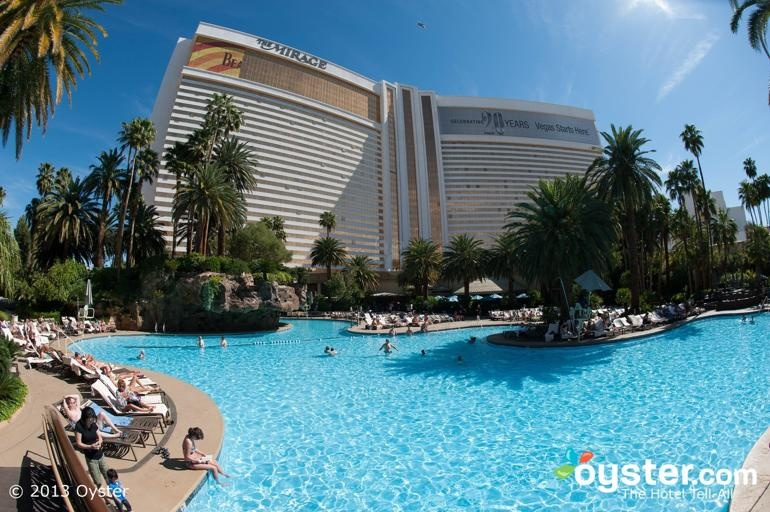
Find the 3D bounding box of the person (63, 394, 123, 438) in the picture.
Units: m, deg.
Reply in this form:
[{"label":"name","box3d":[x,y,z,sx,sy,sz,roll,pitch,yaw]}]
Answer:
[{"label":"person","box3d":[-9.347,5.279,15.189,2.710,1.169,1.075,-1,-9,19]}]

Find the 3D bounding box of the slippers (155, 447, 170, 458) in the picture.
[{"label":"slippers","box3d":[-7.043,6.325,14.883,0.333,0.141,0.257,14,0,-19]}]

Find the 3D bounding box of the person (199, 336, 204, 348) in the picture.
[{"label":"person","box3d":[-11.932,5.686,30.465,0.404,0.825,0.529,-3,-9,-22]}]

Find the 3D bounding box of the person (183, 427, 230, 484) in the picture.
[{"label":"person","box3d":[-5.629,6.225,14.478,1.096,1.707,0.507,-4,4,-18]}]
